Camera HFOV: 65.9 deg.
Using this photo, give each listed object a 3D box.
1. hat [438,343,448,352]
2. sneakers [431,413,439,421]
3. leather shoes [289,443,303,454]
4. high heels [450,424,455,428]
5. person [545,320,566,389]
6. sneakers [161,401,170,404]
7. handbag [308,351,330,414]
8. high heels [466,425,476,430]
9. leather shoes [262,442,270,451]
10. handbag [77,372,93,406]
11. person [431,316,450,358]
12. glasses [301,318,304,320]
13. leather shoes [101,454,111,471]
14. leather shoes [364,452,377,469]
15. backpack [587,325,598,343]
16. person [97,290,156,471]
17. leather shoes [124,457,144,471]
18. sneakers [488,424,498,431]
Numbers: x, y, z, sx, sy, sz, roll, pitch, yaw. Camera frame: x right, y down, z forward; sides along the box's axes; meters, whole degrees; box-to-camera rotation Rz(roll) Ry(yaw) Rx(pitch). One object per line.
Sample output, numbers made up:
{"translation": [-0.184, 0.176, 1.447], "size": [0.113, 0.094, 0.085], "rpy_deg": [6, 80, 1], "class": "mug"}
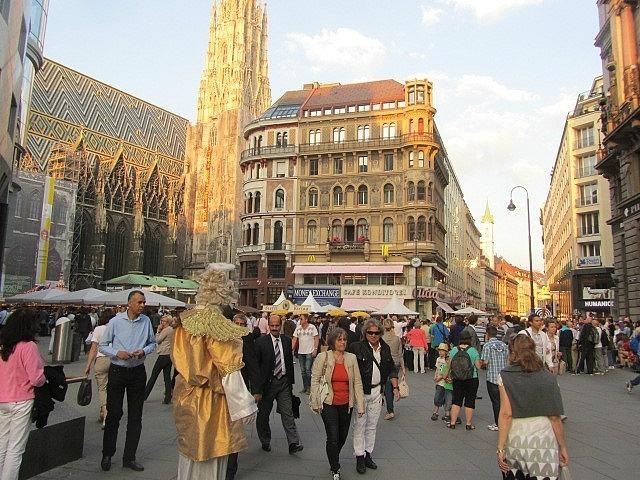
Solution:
{"translation": [2.935, 2.546, 11.672], "size": [0.217, 0.119, 0.191], "rpy_deg": [24, -17, -8], "class": "hat"}
{"translation": [2.733, 4.195, 11.691], "size": [0.110, 0.189, 0.182], "rpy_deg": [-14, -25, 38], "class": "sneakers"}
{"translation": [-0.435, 3.773, 8.921], "size": [0.118, 0.158, 0.338], "rpy_deg": [11, -32, -27], "class": "leather shoes"}
{"translation": [2.911, 4.081, 10.859], "size": [0.076, 0.054, 0.135], "rpy_deg": [2, -2, -8], "class": "high heels"}
{"translation": [6.017, 3.007, 12.615], "size": [0.522, 1.850, 0.528], "rpy_deg": [0, -8, -11], "class": "person"}
{"translation": [-4.097, 4.298, 13.100], "size": [0.181, 0.106, 0.147], "rpy_deg": [3, -10, -15], "class": "sneakers"}
{"translation": [0.008, 2.311, 8.062], "size": [0.325, 0.961, 0.300], "rpy_deg": [3, -10, -15], "class": "handbag"}
{"translation": [3.326, 4.106, 10.883], "size": [0.247, 0.109, 0.082], "rpy_deg": [-1, -1, -42], "class": "high heels"}
{"translation": [-0.996, 3.858, 9.194], "size": [0.155, 0.128, 0.191], "rpy_deg": [2, -9, -9], "class": "leather shoes"}
{"translation": [-4.418, 2.857, 9.252], "size": [0.206, 0.604, 0.904], "rpy_deg": [5, -10, -26], "class": "handbag"}
{"translation": [4.911, 4.130, 20.711], "size": [0.845, 2.169, 0.614], "rpy_deg": [-1, 20, 3], "class": "person"}
{"translation": [-0.573, 2.478, 15.501], "size": [0.047, 0.063, 0.038], "rpy_deg": [-11, 2, 31], "class": "glasses"}
{"translation": [-3.438, 3.580, 7.905], "size": [0.155, 0.206, 0.183], "rpy_deg": [4, -10, -17], "class": "leather shoes"}
{"translation": [0.908, 3.746, 8.425], "size": [0.226, 0.223, 0.337], "rpy_deg": [-4, -11, 29], "class": "leather shoes"}
{"translation": [11.189, 3.886, 20.147], "size": [0.659, 0.735, 0.243], "rpy_deg": [9, -12, -40], "class": "backpack"}
{"translation": [-3.272, 2.276, 8.310], "size": [0.836, 2.904, 0.659], "rpy_deg": [3, -10, -14], "class": "person"}
{"translation": [-2.994, 3.621, 8.006], "size": [0.408, 0.185, 0.142], "rpy_deg": [2, -6, 20], "class": "leather shoes"}
{"translation": [3.819, 4.138, 10.889], "size": [0.166, 0.059, 0.132], "rpy_deg": [4, -10, 4], "class": "sneakers"}
